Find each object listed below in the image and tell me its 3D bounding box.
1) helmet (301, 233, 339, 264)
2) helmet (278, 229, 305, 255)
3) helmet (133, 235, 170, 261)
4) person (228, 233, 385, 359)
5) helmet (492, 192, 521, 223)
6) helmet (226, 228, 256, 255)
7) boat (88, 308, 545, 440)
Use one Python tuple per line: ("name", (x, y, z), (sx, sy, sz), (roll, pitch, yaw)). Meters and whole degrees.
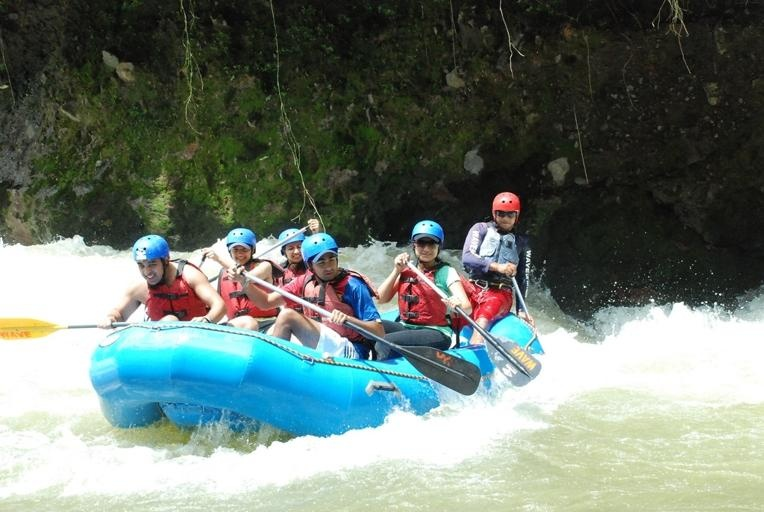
("helmet", (-0.679, -0.098, 8.824), (0.272, 0.282, 0.360), (-9, -28, -46))
("helmet", (-1.109, -0.245, 10.212), (0.332, 0.404, 0.445), (-1, -24, -6))
("helmet", (-2.456, -0.086, 8.837), (0.331, 0.277, 0.193), (-4, 1, -27))
("person", (-0.649, 0.636, 9.253), (1.114, 1.530, 1.699), (-16, -33, 40))
("helmet", (1.524, -0.627, 10.316), (0.291, 0.351, 0.401), (2, -16, 2))
("helmet", (-1.644, -0.195, 9.753), (0.239, 0.257, 0.329), (0, 16, -1))
("boat", (-0.995, 1.296, 8.436), (2.455, 0.595, 1.536), (12, 2, -39))
